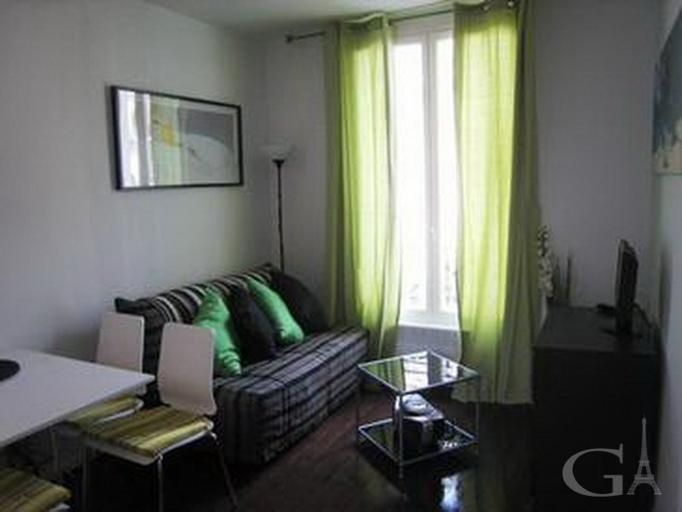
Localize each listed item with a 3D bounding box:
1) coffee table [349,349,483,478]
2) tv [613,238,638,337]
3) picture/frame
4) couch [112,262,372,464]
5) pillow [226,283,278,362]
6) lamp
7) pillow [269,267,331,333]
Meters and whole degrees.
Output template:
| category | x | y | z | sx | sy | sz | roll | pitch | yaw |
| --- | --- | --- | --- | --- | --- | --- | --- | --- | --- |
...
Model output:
| category | x | y | z | sx | sy | sz | roll | pitch | yaw |
| --- | --- | --- | --- | --- | --- | --- | --- | --- | --- |
| coffee table | 0.401 | 0.853 | 3.199 | 0.608 | 0.488 | 0.564 | -7 | 9 | -19 |
| tv | 1.180 | 0.131 | 2.319 | 0.082 | 0.375 | 0.226 | 1 | 10 | 26 |
| picture/frame | -1.008 | -0.724 | 3.619 | 0.017 | 0.592 | 0.960 | 6 | 9 | 38 |
| couch | -0.615 | 0.334 | 3.468 | 0.958 | 0.836 | 1.393 | 1 | 7 | 30 |
| pillow | -0.529 | 0.443 | 3.461 | 0.235 | 0.509 | 0.160 | -16 | -7 | -40 |
| lamp | -0.435 | -0.349 | 4.157 | 0.226 | 0.944 | 0.088 | 1 | 10 | 27 |
| pillow | -0.284 | 0.308 | 3.906 | 0.141 | 0.459 | 0.310 | -34 | -17 | 24 |
